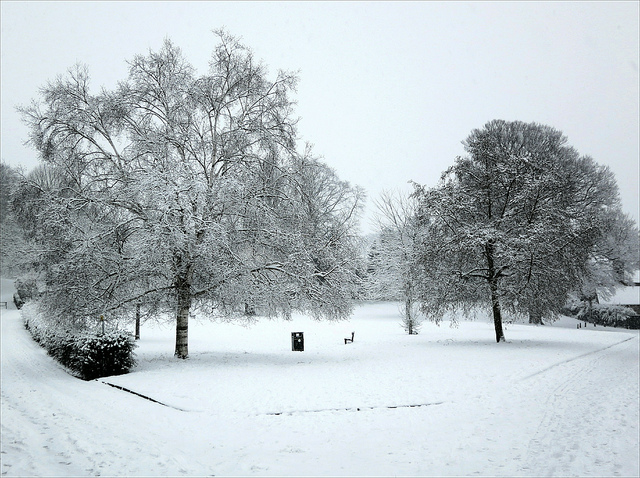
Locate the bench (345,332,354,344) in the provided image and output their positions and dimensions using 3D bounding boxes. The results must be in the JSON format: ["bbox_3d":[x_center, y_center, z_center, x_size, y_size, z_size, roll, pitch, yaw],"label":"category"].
[{"bbox_3d":[1.496,5.007,26.348,0.473,0.616,0.459,1,-10,7],"label":"bench"}]
